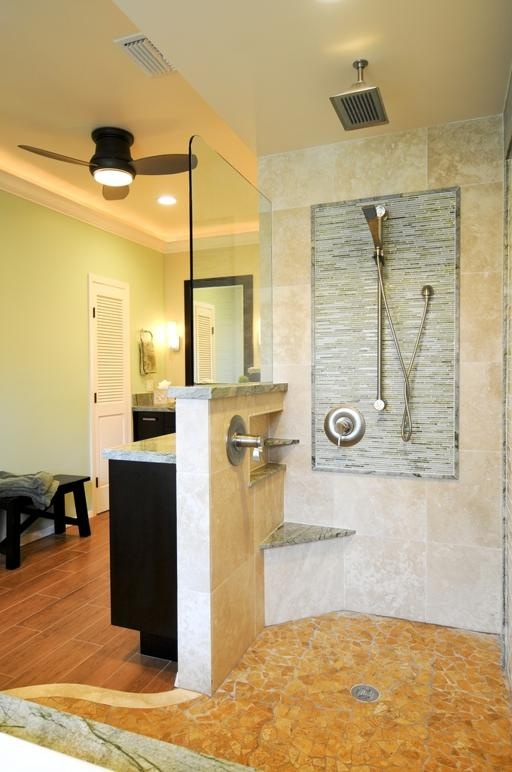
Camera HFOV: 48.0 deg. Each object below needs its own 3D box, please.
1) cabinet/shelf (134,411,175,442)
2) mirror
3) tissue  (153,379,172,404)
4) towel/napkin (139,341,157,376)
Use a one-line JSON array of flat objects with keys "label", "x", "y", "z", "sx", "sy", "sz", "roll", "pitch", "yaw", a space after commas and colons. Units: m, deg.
[{"label": "cabinet/shelf", "x": -0.874, "y": 0.329, "z": 4.894, "sx": 0.390, "sy": 0.267, "sz": 0.137, "roll": 0, "pitch": 1, "yaw": 21}, {"label": "mirror", "x": -0.146, "y": -0.207, "z": 2.200, "sx": 0.022, "sy": 0.534, "sz": 0.443, "roll": 0, "pitch": 1, "yaw": 27}, {"label": "tissue ", "x": -0.857, "y": 0.068, "z": 5.270, "sx": 0.179, "sy": 0.213, "sz": 0.483, "roll": -1, "pitch": 1, "yaw": -9}, {"label": "towel/napkin", "x": -0.981, "y": -0.246, "z": 5.160, "sx": 0.042, "sy": 0.328, "sz": 0.303, "roll": -1, "pitch": -1, "yaw": 18}]
